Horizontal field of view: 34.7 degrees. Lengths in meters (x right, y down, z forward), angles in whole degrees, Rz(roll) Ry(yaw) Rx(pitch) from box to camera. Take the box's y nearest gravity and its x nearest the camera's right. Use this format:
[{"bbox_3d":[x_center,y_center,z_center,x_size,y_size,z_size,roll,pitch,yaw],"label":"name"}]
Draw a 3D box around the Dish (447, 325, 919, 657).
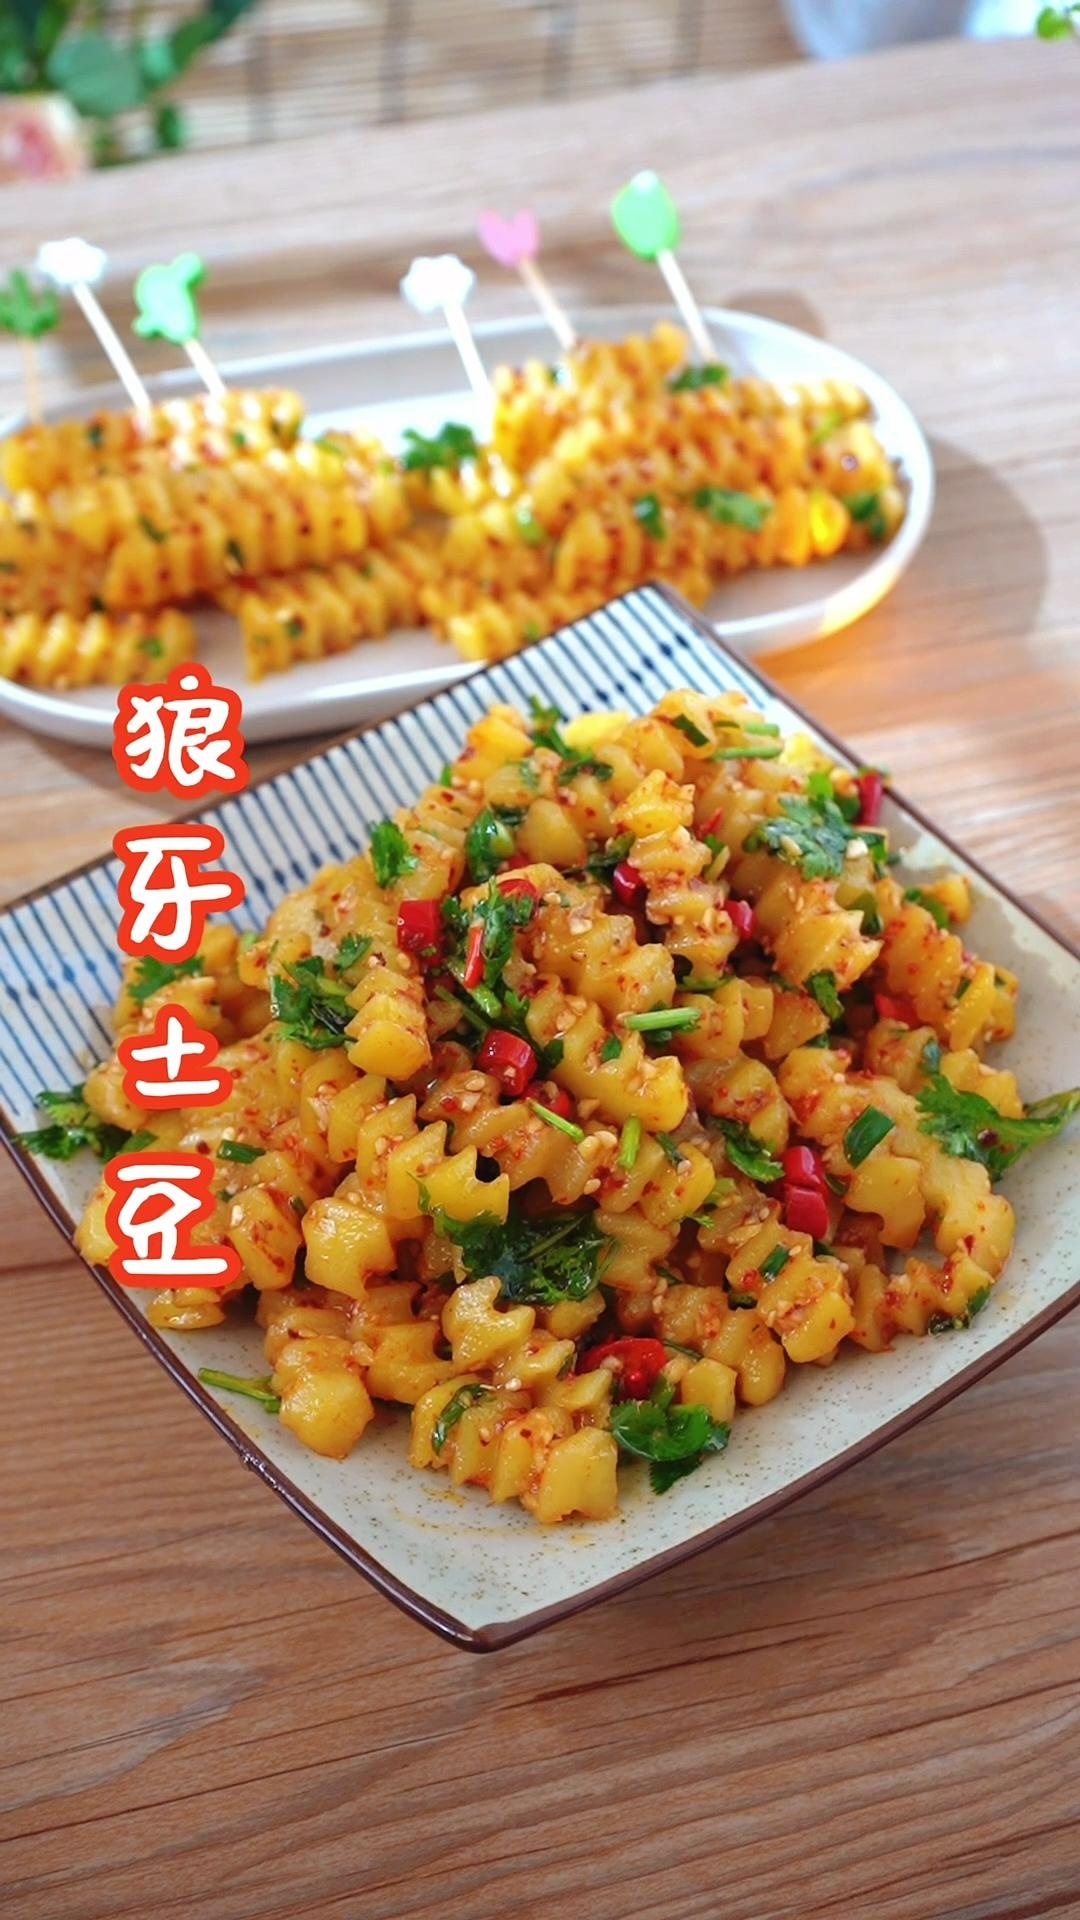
[{"bbox_3d":[0.200,-0.662,2.667,0.619,0.187,0.510,-8,57,-3],"label":"Dish"}]
